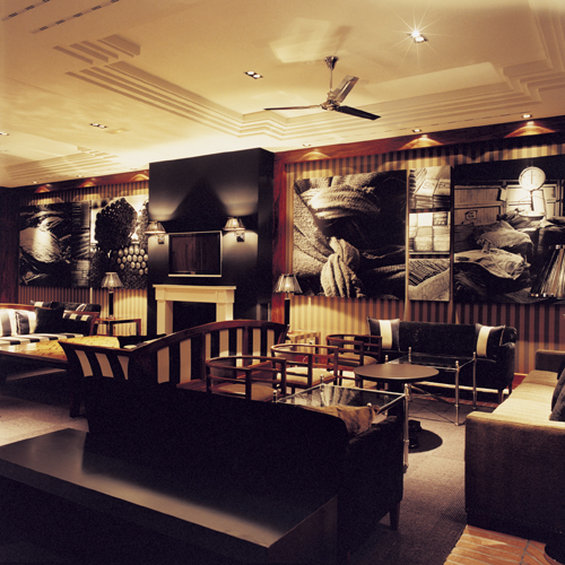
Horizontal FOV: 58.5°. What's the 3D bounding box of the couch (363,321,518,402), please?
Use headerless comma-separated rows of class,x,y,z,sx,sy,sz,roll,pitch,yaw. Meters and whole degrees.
couch,1.687,0.784,5.557,1.493,0.613,0.422,2,9,25

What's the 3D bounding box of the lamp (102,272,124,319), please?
lamp,-2.884,0.186,8.528,0.325,0.753,0.909,3,2,-17

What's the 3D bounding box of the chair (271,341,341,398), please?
chair,0.144,0.782,4.484,0.480,0.416,0.476,-3,-4,28

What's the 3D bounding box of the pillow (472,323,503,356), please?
pillow,2.130,0.600,5.231,0.153,0.349,0.323,19,-9,-23

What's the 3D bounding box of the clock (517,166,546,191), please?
clock,2.648,-1.101,5.327,0.300,0.304,0.052,4,1,36

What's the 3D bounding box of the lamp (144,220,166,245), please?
lamp,-1.963,-0.768,7.717,0.459,0.359,0.220,4,2,44

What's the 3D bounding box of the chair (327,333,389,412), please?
chair,0.714,0.793,5.099,0.487,0.392,0.470,-5,-1,24

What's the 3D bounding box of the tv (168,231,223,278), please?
tv,-1.300,-0.415,7.407,1.076,0.662,0.048,2,3,35

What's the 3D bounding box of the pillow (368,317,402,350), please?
pillow,1.184,0.593,5.786,0.361,0.328,0.139,1,-22,-4

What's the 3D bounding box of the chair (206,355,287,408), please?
chair,-0.320,0.762,3.877,0.613,0.273,0.577,2,1,10
